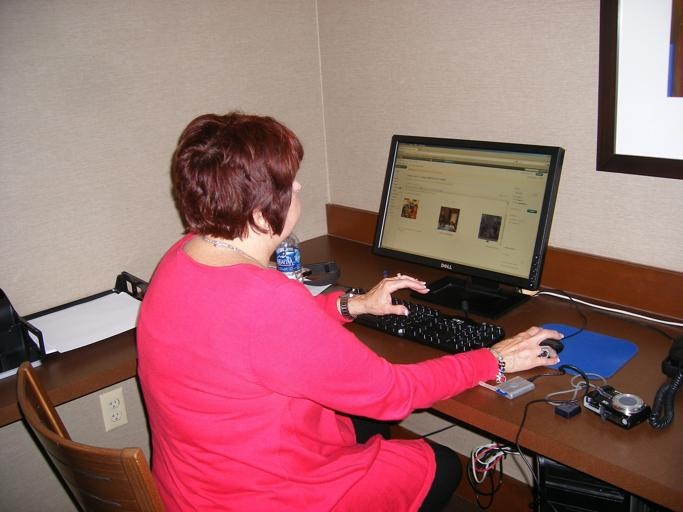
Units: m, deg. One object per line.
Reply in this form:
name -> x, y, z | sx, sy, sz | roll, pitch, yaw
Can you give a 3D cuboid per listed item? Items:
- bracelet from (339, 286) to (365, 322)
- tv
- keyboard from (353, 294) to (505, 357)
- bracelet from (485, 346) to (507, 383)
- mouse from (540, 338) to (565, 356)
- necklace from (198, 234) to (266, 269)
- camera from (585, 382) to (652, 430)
bracelet -> 0.026, 0.164, 1.640 | 0.061, 0.098, 0.099 | 15, 48, 24
tv -> 0.435, -0.090, 1.676 | 0.537, 0.475, 0.230 | 14, 25, 37
keyboard -> 0.261, 0.224, 1.588 | 0.202, 0.070, 0.505 | -21, 14, -27
bracelet -> 0.397, 0.295, 1.322 | 0.023, 0.067, 0.050 | 0, -6, -1
mouse -> 0.576, 0.250, 1.401 | 0.052, 0.022, 0.039 | 16, 15, -22
necklace -> -0.256, -0.015, 1.188 | 0.107, 0.027, 0.083 | 24, 3, -10
camera -> 0.636, 0.340, 1.178 | 0.077, 0.035, 0.096 | -13, 20, -28
